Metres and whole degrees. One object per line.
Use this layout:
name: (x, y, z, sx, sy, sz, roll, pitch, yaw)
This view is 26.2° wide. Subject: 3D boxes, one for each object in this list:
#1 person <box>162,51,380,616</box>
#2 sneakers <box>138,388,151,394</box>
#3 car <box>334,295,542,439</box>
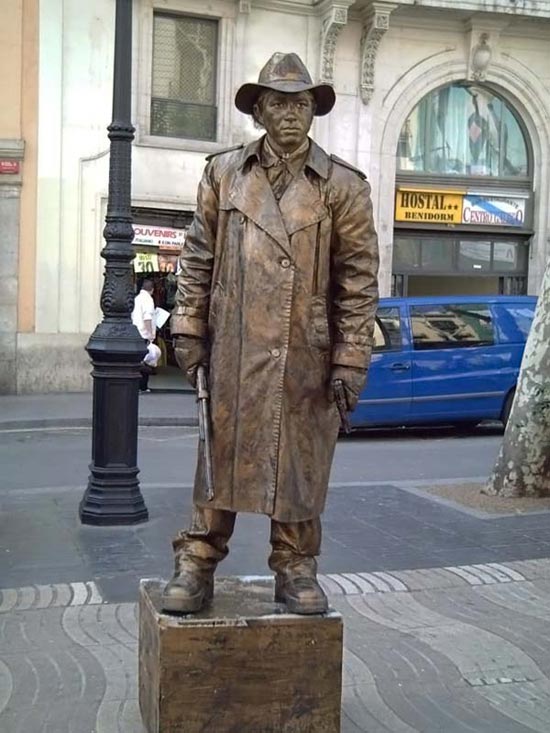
person: (-0.004, -0.135, 4.413, 0.772, 2.045, 0.475, 4, 5, -6)
sneakers: (-1.941, 0.360, 17.391, 0.171, 0.067, 0.058, -5, -4, 34)
car: (1.836, -0.079, 13.297, 2.441, 1.152, 1.256, 1, -2, -12)
